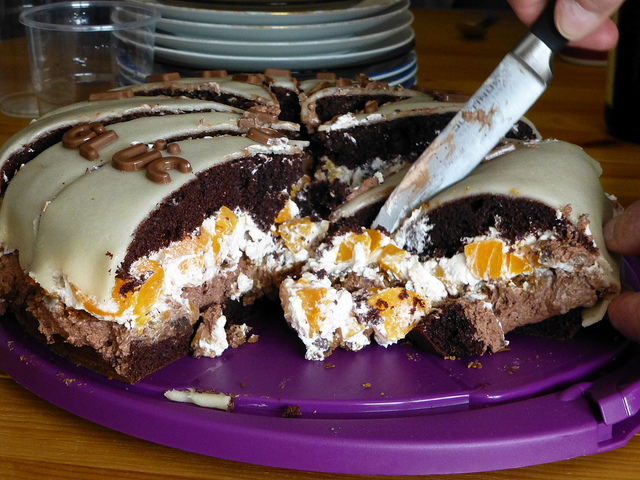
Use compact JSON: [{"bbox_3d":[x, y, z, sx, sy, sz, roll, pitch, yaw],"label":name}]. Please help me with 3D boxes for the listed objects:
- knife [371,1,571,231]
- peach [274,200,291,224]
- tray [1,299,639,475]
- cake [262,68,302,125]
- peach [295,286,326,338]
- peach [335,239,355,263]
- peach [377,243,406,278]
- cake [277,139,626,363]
[{"bbox_3d":[0.299,-0.213,1.361,0.113,0.373,0.412,41,69,15],"label":"knife"},{"bbox_3d":[-0.085,-0.065,1.523,0.038,0.025,0.046,1,91,4],"label":"peach"},{"bbox_3d":[0.011,0.257,1.302,1.182,0.270,0.355,8,65,-1],"label":"tray"},{"bbox_3d":[-0.079,-0.341,1.687,0.092,0.050,0.153,-4,46,-6],"label":"cake"},{"bbox_3d":[-0.015,0.133,1.354,0.074,0.081,0.062,16,23,39],"label":"peach"},{"bbox_3d":[0.053,0.023,1.461,0.030,0.013,0.049,18,96,17],"label":"peach"},{"bbox_3d":[0.150,0.046,1.446,0.062,0.022,0.062,38,83,23],"label":"peach"},{"bbox_3d":[0.256,0.043,1.395,0.523,0.192,0.519,-2,34,8],"label":"cake"}]
